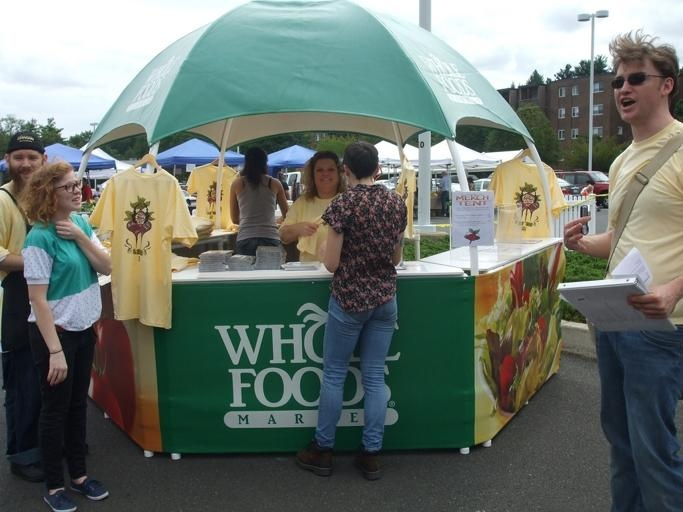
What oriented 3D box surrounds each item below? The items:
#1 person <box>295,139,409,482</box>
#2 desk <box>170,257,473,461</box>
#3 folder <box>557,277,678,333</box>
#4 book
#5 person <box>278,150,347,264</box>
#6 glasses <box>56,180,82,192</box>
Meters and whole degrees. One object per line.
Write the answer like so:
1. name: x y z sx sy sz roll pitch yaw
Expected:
1. person: 0.088 0.379 4.585 0.676 2.423 0.670 1 2 -9
2. desk: -0.353 0.503 6.610 3.835 1.606 1.929 -2 4 -7
3. folder: 1.483 0.261 3.285 0.579 0.363 0.286 7 13 32
4. book: 1.508 0.267 3.268 0.507 0.230 0.497 40 -29 -18
5. person: -0.193 -0.314 5.771 0.657 1.397 0.671 4 -3 -12
6. glasses: -1.819 -0.477 4.103 0.086 0.071 0.259 0 12 6
